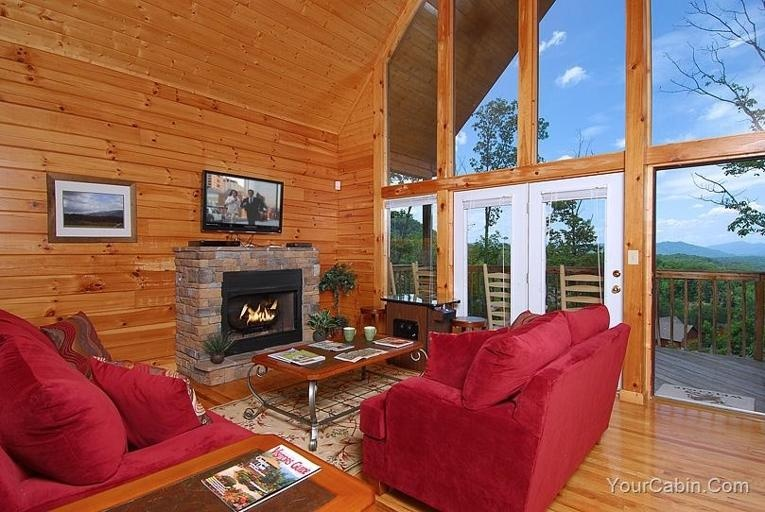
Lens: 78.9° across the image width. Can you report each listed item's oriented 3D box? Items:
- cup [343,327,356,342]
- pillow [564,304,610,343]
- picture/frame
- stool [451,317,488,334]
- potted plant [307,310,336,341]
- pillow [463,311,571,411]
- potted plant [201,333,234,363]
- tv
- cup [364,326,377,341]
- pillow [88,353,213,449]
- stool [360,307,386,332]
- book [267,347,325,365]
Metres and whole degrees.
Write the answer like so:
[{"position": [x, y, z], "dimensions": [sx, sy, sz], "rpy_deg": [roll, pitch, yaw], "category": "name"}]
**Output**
[{"position": [-0.391, 0.866, 5.155], "dimensions": [0.173, 0.114, 0.136], "rpy_deg": [3, 1, 27], "category": "cup"}, {"position": [1.747, 0.546, 4.051], "dimensions": [0.892, 0.272, 0.277], "rpy_deg": [5, -5, -43], "category": "pillow"}, {"position": [-3.304, -0.554, 5.194], "dimensions": [0.067, 0.809, 0.951], "rpy_deg": [0, 0, 45], "category": "picture/frame"}, {"position": [1.078, 0.827, 5.732], "dimensions": [0.325, 0.323, 0.327], "rpy_deg": [-3, -2, 43], "category": "stool"}, {"position": [-0.824, 0.961, 6.401], "dimensions": [0.393, 0.349, 0.368], "rpy_deg": [2, -1, -23], "category": "potted plant"}, {"position": [0.964, 0.737, 3.315], "dimensions": [1.112, 0.358, 0.568], "rpy_deg": [-15, 10, -39], "category": "pillow"}, {"position": [-1.986, 1.103, 5.604], "dimensions": [0.351, 0.342, 0.322], "rpy_deg": [2, -2, -30], "category": "potted plant"}, {"position": [-1.895, -0.702, 6.351], "dimensions": [0.121, 0.767, 1.288], "rpy_deg": [11, 7, 36], "category": "tv"}, {"position": [-0.164, 0.871, 5.235], "dimensions": [0.182, 0.129, 0.142], "rpy_deg": [1, -2, 14], "category": "cup"}, {"position": [-1.696, 1.075, 3.386], "dimensions": [0.901, 0.766, 0.469], "rpy_deg": [-4, 1, 9], "category": "pillow"}, {"position": [-0.167, 0.943, 7.056], "dimensions": [0.419, 0.359, 0.404], "rpy_deg": [0, -1, 19], "category": "stool"}, {"position": [-0.832, 0.999, 4.596], "dimensions": [0.536, 0.077, 0.408], "rpy_deg": [-2, -2, 39], "category": "book"}]
